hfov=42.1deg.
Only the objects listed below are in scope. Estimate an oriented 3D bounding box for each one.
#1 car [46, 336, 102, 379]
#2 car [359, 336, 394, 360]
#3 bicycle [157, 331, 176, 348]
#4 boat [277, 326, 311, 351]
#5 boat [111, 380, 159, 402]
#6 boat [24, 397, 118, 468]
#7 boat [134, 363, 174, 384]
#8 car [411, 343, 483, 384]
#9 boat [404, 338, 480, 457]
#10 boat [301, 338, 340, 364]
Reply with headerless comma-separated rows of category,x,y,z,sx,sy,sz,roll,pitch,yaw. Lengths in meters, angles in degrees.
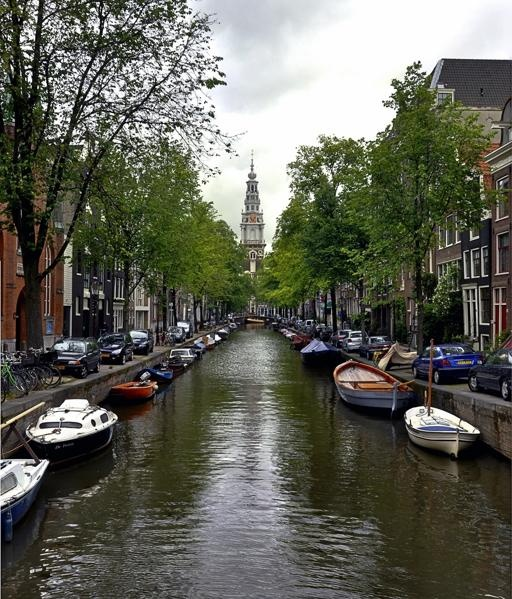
car,-6.742,2.205,24.674,1.419,1.088,2.793,-1,-5,-5
car,6.652,2.715,36.359,1.297,1.228,3.157,0,2,1
bicycle,-6.943,3.005,51.282,0.997,1.025,1.946,-2,-9,7
boat,3.681,3.745,64.277,1.651,1.942,7.721,5,-1,-4
boat,-4.551,3.548,25.142,1.215,0.636,1.540,2,3,41
boat,-4.466,3.213,15.815,1.524,0.970,2.881,0,-3,0
boat,-4.526,3.513,30.602,2.081,0.616,0.667,1,1,-30
car,6.557,2.171,23.276,1.209,0.871,2.649,-1,2,-8
boat,4.661,3.208,17.323,1.144,1.843,3.355,0,-1,4
boat,4.152,3.339,42.484,1.624,1.080,3.149,0,-1,1
